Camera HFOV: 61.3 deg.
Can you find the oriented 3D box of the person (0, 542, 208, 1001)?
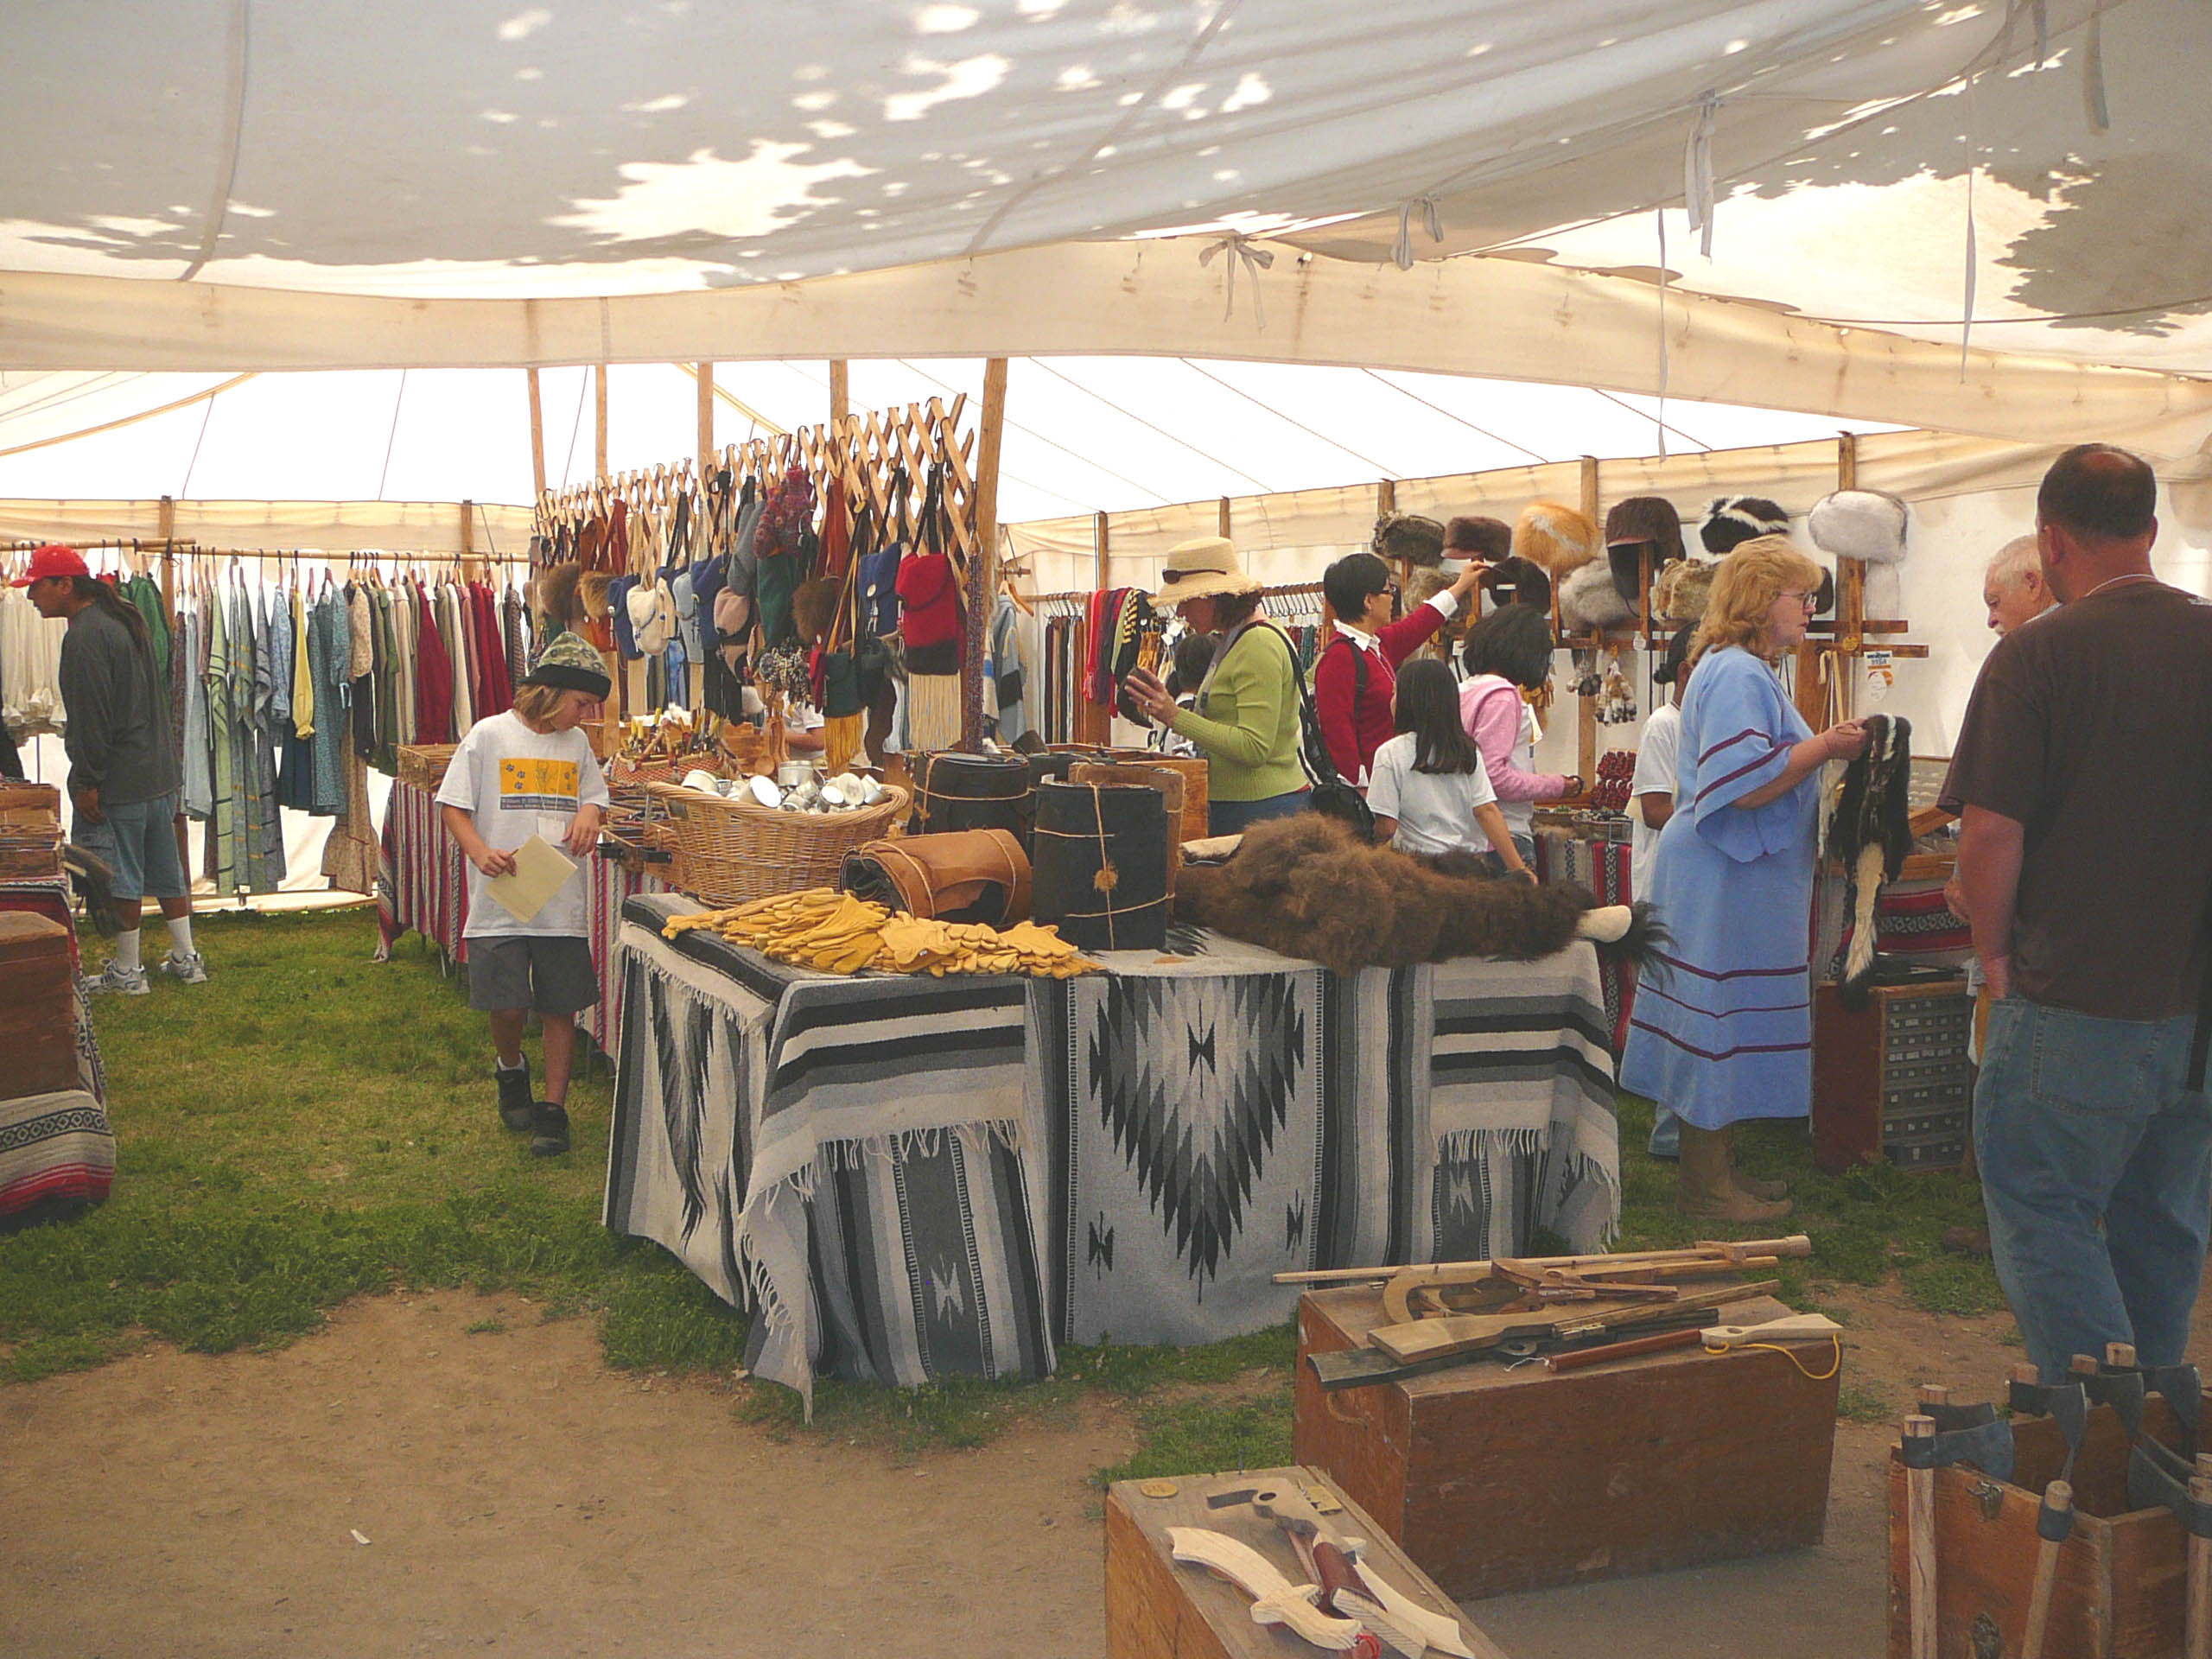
[{"bbox_3d":[-4.614,-0.230,8.586,0.485,2.076,0.819,-3,10,-12],"label":"person"}]

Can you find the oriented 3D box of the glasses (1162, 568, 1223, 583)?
[{"bbox_3d":[0.291,-0.827,6.130,0.149,0.045,0.158,0,3,-4],"label":"glasses"}]

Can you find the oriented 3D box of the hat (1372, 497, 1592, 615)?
[{"bbox_3d":[1.683,-1.159,7.873,0.580,0.189,0.581,4,1,45],"label":"hat"}]

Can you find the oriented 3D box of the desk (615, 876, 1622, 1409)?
[{"bbox_3d":[0.032,0.789,5.015,2.648,1.046,0.977,-2,11,-6],"label":"desk"}]

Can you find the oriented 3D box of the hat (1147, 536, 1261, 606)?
[{"bbox_3d":[0.353,-0.835,6.092,0.280,0.163,0.278,-6,15,-19],"label":"hat"}]

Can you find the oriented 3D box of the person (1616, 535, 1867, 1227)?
[{"bbox_3d":[1.908,0.165,5.709,0.623,2.067,0.489,-3,10,-12],"label":"person"}]

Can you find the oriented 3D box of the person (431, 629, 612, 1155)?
[{"bbox_3d":[-2.000,0.211,6.487,0.557,1.749,0.754,-3,10,-17],"label":"person"}]

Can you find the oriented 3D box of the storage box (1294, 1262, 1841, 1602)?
[{"bbox_3d":[0.997,1.265,3.986,1.045,0.630,0.531,-5,4,-18],"label":"storage box"}]

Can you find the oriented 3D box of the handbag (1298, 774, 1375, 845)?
[{"bbox_3d":[0.813,-0.073,6.263,0.165,0.233,0.234,12,4,-39],"label":"handbag"}]

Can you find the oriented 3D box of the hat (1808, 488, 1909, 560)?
[{"bbox_3d":[2.825,-1.122,6.979,0.313,0.263,0.251,5,-5,15],"label":"hat"}]

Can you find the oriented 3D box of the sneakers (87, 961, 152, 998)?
[{"bbox_3d":[-4.693,0.695,8.781,0.352,0.177,0.141,3,-1,9],"label":"sneakers"}]

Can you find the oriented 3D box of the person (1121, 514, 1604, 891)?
[{"bbox_3d":[0.652,-0.504,6.310,0.877,0.940,2.261,3,12,19],"label":"person"}]

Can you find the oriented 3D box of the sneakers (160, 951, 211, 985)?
[{"bbox_3d":[-4.534,0.666,9.175,0.126,0.144,0.293,-2,4,-43],"label":"sneakers"}]
